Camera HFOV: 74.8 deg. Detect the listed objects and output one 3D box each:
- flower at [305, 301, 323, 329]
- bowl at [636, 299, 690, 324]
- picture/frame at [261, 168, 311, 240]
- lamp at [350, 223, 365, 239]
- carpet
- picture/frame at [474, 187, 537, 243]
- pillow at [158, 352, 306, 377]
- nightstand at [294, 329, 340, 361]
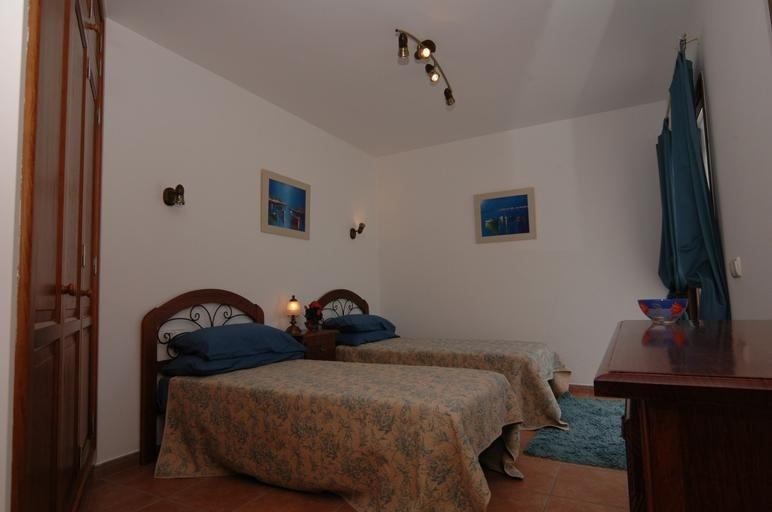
[{"bbox_3d":[-0.724,0.608,5.045,0.214,0.275,0.228,5,-10,-40],"label":"flower"},{"bbox_3d":[1.548,0.300,2.827,0.185,0.109,0.191,-2,-6,0],"label":"bowl"},{"bbox_3d":[-1.049,-0.514,5.179,0.025,0.678,0.705,-6,-8,35],"label":"picture/frame"},{"bbox_3d":[-0.363,-0.288,6.218,0.191,0.249,0.142,0,1,22],"label":"lamp"},{"bbox_3d":[1.544,1.434,4.046,0.572,0.027,1.035,-2,-2,27],"label":"carpet"},{"bbox_3d":[1.429,-0.462,5.914,0.601,0.553,0.047,-3,-6,32],"label":"picture/frame"},{"bbox_3d":[-1.188,0.843,3.931,0.587,0.104,0.340,4,-11,-45],"label":"pillow"},{"bbox_3d":[-0.673,0.844,4.918,0.269,0.374,0.380,-4,-4,26],"label":"nightstand"}]
